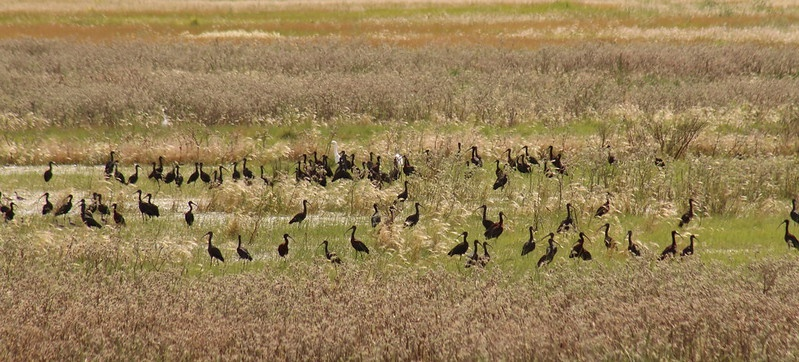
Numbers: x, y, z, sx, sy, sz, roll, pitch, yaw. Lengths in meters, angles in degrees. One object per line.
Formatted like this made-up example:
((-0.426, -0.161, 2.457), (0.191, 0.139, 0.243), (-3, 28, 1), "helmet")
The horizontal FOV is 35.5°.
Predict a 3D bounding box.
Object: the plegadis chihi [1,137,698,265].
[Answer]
((0.395, 1.458, 103.245), (68.334, 13.211, 17.251), (0, 0, 0), "plegadis chihi")
